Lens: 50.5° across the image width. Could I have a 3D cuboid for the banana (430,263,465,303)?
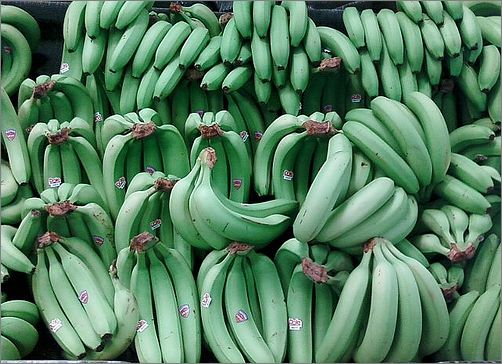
[{"bbox_3d":[0.975,0.472,2.639,0.125,0.057,0.214,24,49,-9],"label":"banana"}]
